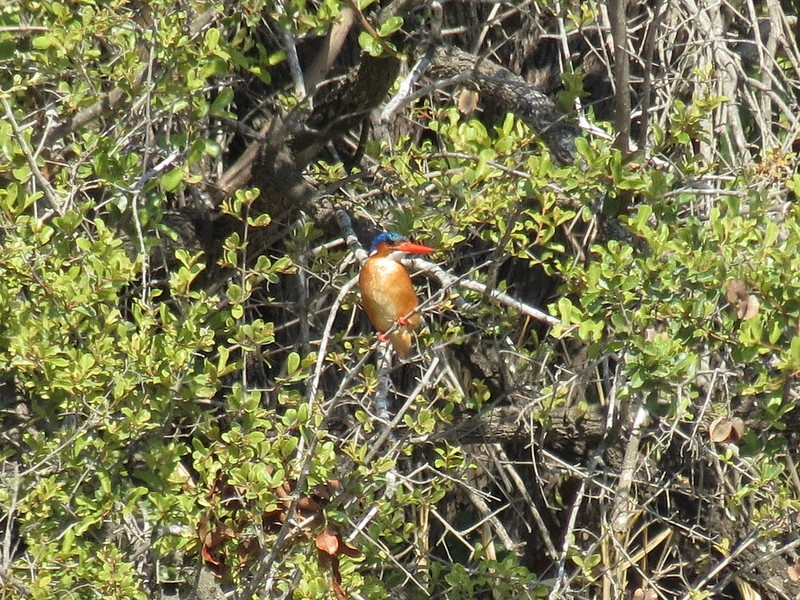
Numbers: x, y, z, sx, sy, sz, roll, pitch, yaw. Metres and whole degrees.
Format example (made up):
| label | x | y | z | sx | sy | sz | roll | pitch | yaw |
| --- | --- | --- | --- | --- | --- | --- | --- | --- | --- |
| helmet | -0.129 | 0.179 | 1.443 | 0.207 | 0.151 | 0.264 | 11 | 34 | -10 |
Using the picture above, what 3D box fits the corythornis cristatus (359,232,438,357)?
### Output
| label | x | y | z | sx | sy | sz | roll | pitch | yaw |
| --- | --- | --- | --- | --- | --- | --- | --- | --- | --- |
| corythornis cristatus | -0.056 | -0.061 | 5.468 | 0.213 | 0.546 | 0.594 | -17 | 2 | 4 |
